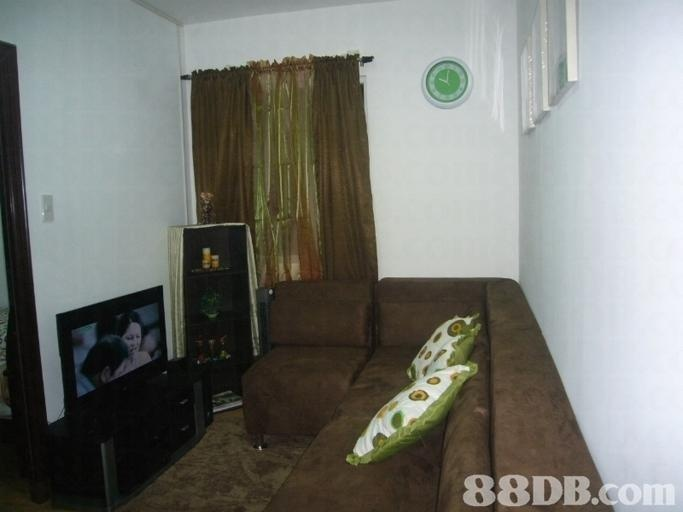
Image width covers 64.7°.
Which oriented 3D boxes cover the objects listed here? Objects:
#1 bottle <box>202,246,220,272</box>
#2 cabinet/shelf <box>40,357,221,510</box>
[{"bbox_3d":[-1.020,0.032,4.161,0.163,0.260,0.088,-1,2,-36],"label":"bottle"},{"bbox_3d":[-1.241,1.059,3.204,0.457,0.511,0.873,0,8,29],"label":"cabinet/shelf"}]
